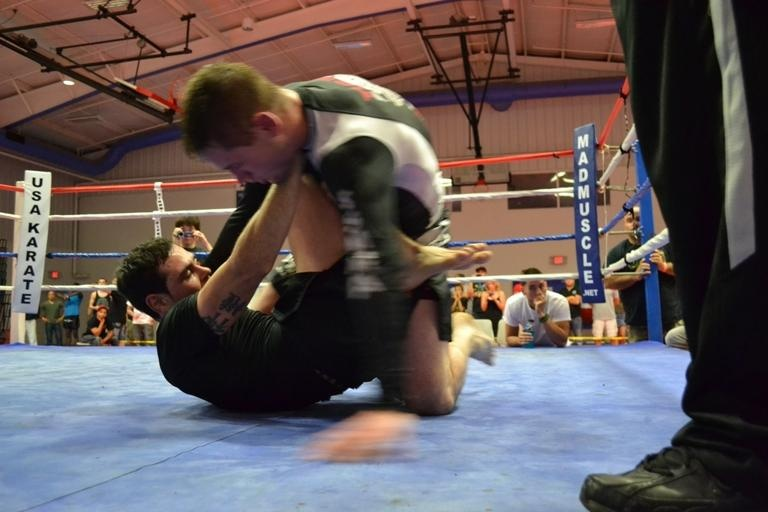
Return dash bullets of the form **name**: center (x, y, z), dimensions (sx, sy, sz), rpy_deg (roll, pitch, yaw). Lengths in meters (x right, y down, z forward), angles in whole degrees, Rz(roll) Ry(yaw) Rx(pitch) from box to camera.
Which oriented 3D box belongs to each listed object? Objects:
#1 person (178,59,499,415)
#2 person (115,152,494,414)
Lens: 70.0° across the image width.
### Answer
- **person**: center (0.006, -0.043, 1.513), dimensions (0.641, 1.011, 0.867), rpy_deg (-4, -5, 38)
- **person**: center (-0.125, 0.132, 1.844), dimensions (1.466, 0.711, 0.492), rpy_deg (-3, -18, -1)
